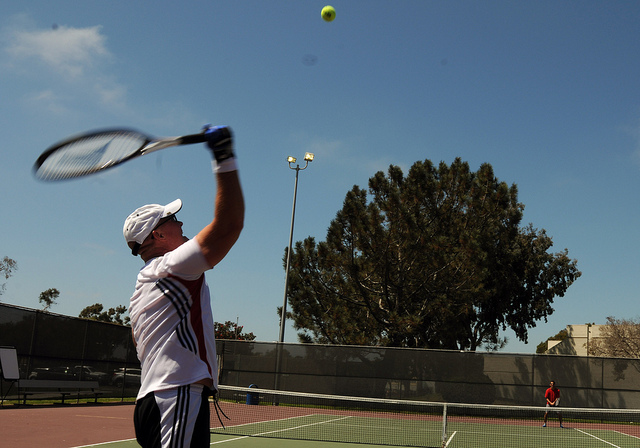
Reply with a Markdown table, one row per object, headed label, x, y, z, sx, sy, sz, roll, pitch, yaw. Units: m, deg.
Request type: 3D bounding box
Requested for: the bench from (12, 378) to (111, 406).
| label | x | y | z | sx | sy | sz | roll | pitch | yaw |
| --- | --- | --- | --- | --- | --- | --- | --- | --- | --- |
| bench | -8.930 | 5.706 | 19.647 | 1.004 | 1.027 | 3.924 | -7 | -24 | 14 |
